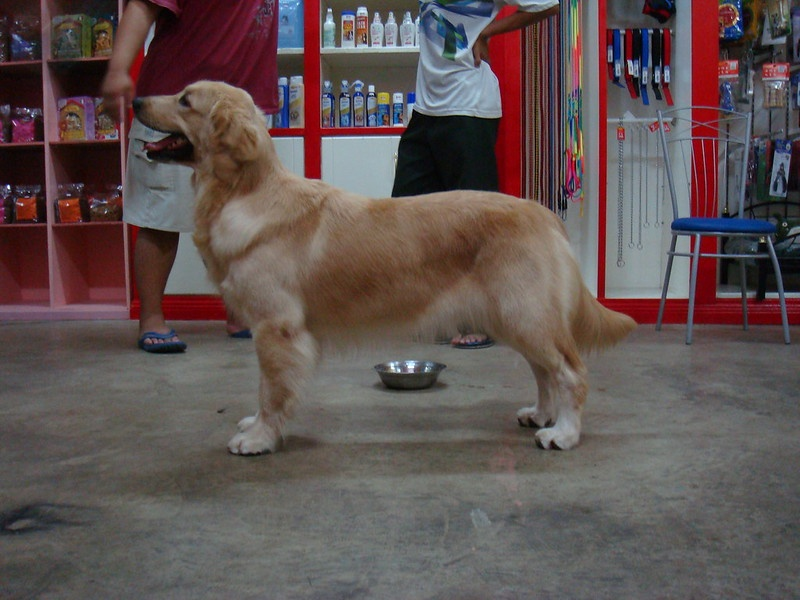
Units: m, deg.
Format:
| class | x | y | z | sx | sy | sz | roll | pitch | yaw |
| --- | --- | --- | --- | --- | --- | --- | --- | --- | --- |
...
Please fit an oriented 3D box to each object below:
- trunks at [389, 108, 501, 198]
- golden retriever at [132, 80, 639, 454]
| class | x | y | z | sx | sy | sz | roll | pitch | yaw |
| --- | --- | --- | --- | --- | --- | --- | --- | --- | --- |
| trunks | 0.183 | -0.770 | 3.623 | 0.421 | 0.471 | 0.273 | -1 | 31 | 6 |
| golden retriever | -0.097 | -0.152 | 3.066 | 1.496 | 1.245 | 0.566 | 1 | 13 | 1 |
